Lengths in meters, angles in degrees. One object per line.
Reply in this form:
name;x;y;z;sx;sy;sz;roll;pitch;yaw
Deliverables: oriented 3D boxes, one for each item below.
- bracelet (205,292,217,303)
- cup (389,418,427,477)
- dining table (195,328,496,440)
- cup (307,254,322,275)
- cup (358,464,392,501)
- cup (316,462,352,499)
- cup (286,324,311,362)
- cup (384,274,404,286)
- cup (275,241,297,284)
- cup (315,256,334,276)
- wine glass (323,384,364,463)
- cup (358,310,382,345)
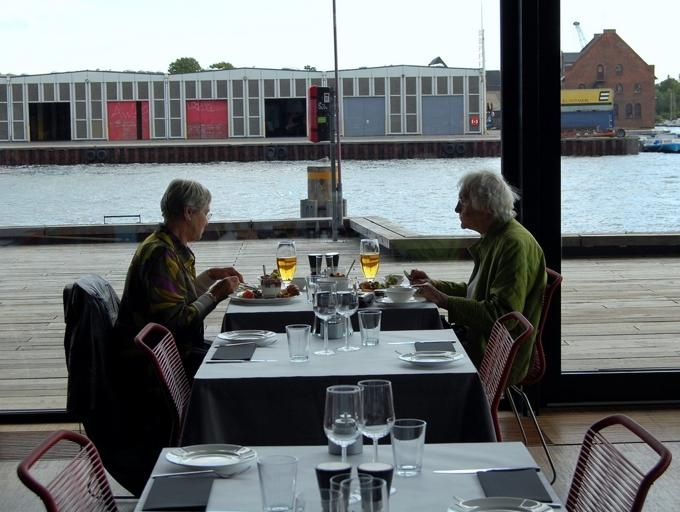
bracelet;-0.545;0.177;2.920;0.026;0.047;0.030;-29;-15;36
cup;0.164;0.458;1.693;0.107;0.142;0.115;-4;4;0
dining table;0.010;0.473;2.355;0.952;0.281;0.444;-3;11;0
cup;-0.117;0.049;3.517;0.087;0.140;0.091;1;1;0
cup;0.077;0.493;1.515;0.063;0.061;0.070;0;0;-7
cup;-0.021;0.490;1.499;0.056;0.063;0.063;1;-1;-1
cup;-0.128;0.289;2.351;0.101;0.128;0.109;-3;9;0
cup;0.270;0.116;3.345;0.063;0.050;0.057;-1;5;-13
cup;-0.263;0.037;3.425;0.092;0.233;0.294;-3;11;-6
cup;-0.076;0.051;3.391;0.088;0.110;0.093;0;9;0
wine glass;0.011;0.405;1.661;0.089;0.195;0.121;-3;11;-1
cup;0.107;0.256;2.533;0.104;0.137;0.108;-3;7;0
